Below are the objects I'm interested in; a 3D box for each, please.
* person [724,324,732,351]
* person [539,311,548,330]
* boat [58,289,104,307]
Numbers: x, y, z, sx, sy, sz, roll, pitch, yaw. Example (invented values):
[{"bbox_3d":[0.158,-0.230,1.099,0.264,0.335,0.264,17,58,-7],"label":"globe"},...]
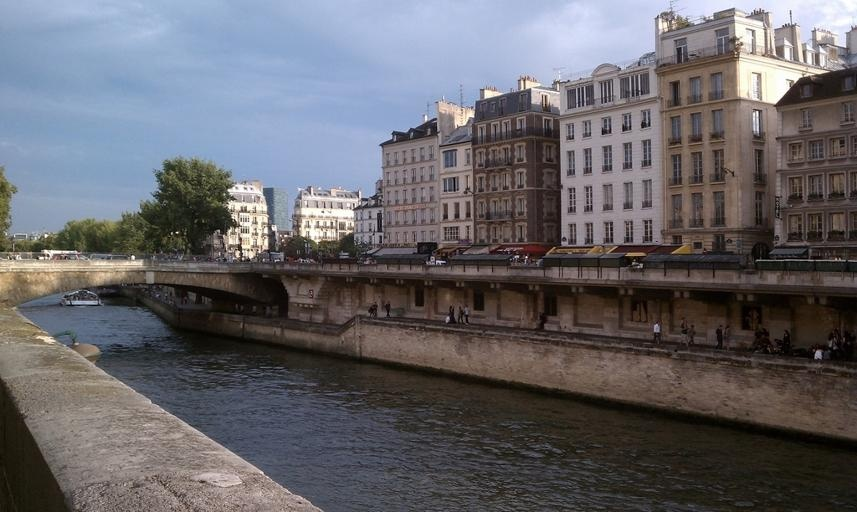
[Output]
[{"bbox_3d":[20.791,5.579,56.915,0.440,1.537,0.666,0,-1,18],"label":"person"},{"bbox_3d":[9.101,5.249,65.626,0.753,1.274,1.221,0,0,15],"label":"person"},{"bbox_3d":[-50.914,6.237,118.931,4.360,2.324,5.174,0,0,9],"label":"boat"}]
